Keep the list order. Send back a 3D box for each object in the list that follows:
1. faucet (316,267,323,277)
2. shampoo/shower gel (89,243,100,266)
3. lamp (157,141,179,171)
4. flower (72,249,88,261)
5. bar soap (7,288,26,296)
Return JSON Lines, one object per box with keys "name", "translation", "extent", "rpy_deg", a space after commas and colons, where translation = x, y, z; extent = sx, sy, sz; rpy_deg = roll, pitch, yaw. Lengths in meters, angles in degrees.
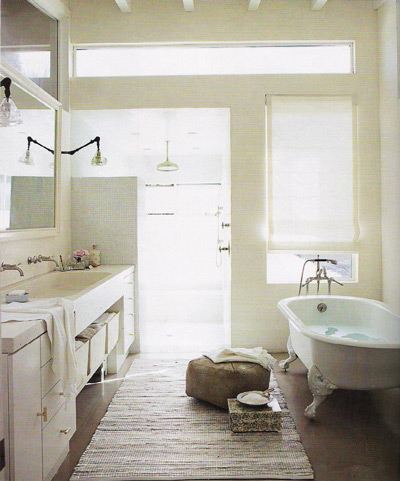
{"name": "faucet", "translation": [0.843, 0.239, 3.325], "extent": [0.041, 0.094, 0.033], "rpy_deg": [-4, -12, 24]}
{"name": "shampoo/shower gel", "translation": [-0.856, 0.125, 3.826], "extent": [0.085, 0.168, 0.189], "rpy_deg": [-1, 4, -12]}
{"name": "lamp", "translation": [-0.392, -1.033, 5.625], "extent": [0.283, 0.374, 0.296], "rpy_deg": [-1, -26, -3]}
{"name": "flower", "translation": [-0.930, 0.112, 3.603], "extent": [0.100, 0.109, 0.105], "rpy_deg": [-3, 2, 21]}
{"name": "bar soap", "translation": [-0.851, 0.245, 2.194], "extent": [0.084, 0.018, 0.086], "rpy_deg": [-2, 4, -24]}
